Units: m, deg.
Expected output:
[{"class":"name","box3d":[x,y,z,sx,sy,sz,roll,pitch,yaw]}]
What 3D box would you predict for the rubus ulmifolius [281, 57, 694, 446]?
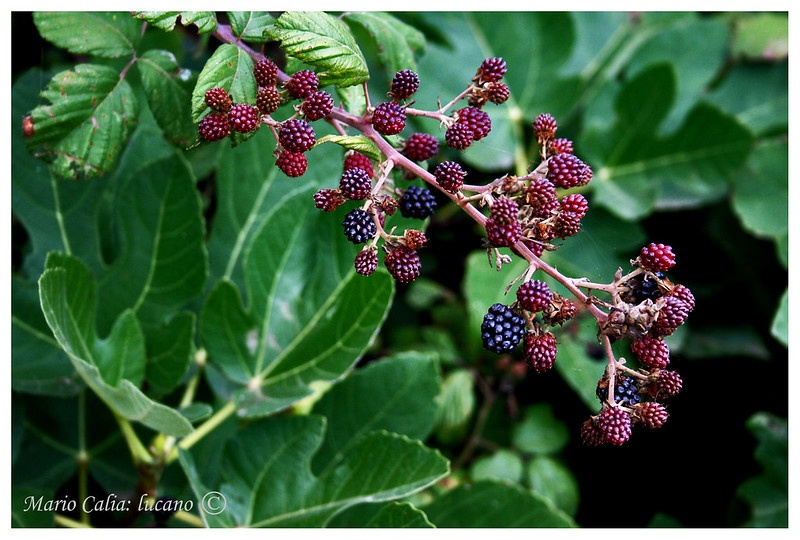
[{"class":"rubus ulmifolius","box3d":[0.169,-0.053,1.642,1.024,0.345,0.556,41,78,4]}]
